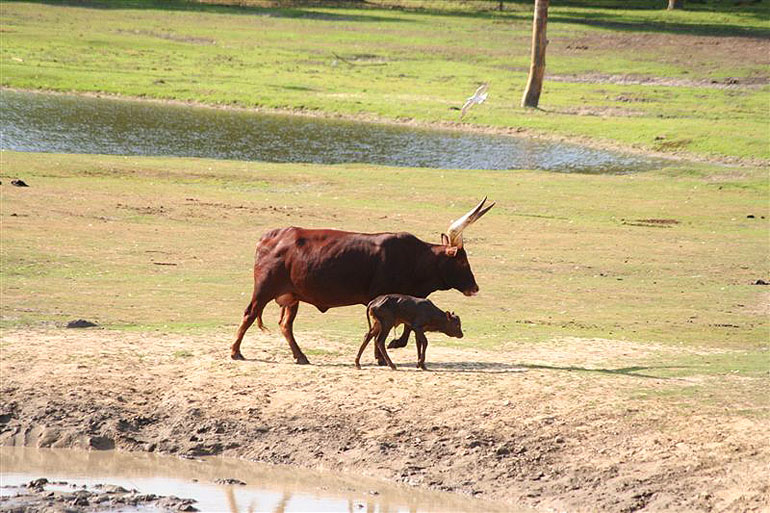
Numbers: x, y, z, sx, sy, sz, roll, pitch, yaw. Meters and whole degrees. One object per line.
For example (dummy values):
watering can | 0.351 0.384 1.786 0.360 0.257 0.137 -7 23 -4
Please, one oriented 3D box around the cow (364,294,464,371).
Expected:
cow | 0.602 1.977 42.466 2.506 1.978 0.804 5 17 -2
